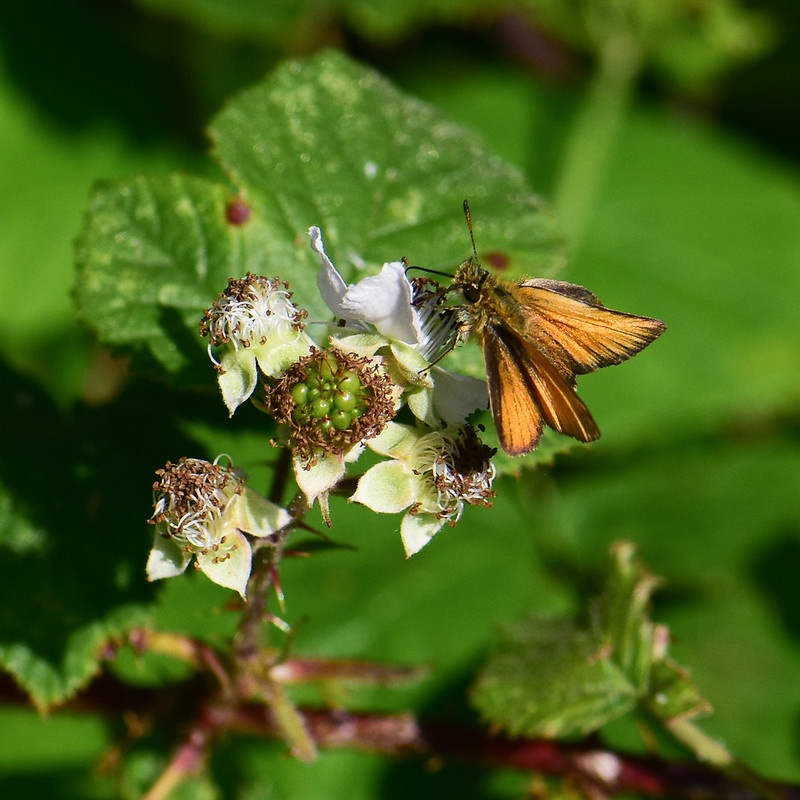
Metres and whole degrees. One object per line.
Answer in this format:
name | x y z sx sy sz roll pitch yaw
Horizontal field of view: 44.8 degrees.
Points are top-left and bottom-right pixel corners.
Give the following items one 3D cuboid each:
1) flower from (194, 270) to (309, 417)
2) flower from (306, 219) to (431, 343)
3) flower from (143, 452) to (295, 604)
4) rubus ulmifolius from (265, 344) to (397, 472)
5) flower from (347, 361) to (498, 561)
flower | -0.286 -0.105 1.945 0.300 0.150 0.243 2 80 0
flower | -0.062 -0.197 1.796 0.235 0.221 0.098 6 47 43
flower | -0.365 0.212 1.882 0.333 0.136 0.336 -14 25 -21
rubus ulmifolius | -0.137 0.014 1.902 0.230 0.128 0.230 34 70 3
flower | 0.064 0.117 1.912 0.177 0.455 0.322 2 104 27
